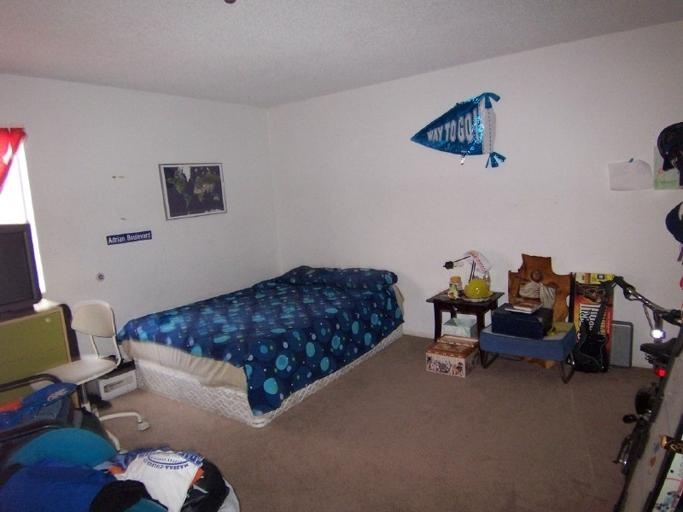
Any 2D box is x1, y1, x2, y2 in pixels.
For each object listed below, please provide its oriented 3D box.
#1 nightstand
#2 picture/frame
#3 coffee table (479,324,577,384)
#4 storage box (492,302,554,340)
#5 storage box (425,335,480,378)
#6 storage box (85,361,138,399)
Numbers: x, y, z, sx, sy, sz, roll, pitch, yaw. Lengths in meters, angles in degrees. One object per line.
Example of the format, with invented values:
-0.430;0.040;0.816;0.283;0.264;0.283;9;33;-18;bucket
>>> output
1.288;0.627;4.979;0.761;0.775;0.620;4;9;35;nightstand
-1.657;-0.716;5.381;0.045;0.529;0.615;-1;9;39;picture/frame
1.683;0.723;4.344;0.720;0.414;0.507;5;29;31;coffee table
1.598;0.568;4.334;0.507;0.240;0.280;2;8;21;storage box
1.068;0.943;4.664;0.415;0.276;0.380;4;9;34;storage box
-2.157;1.122;4.587;0.321;0.217;0.322;-6;3;39;storage box
